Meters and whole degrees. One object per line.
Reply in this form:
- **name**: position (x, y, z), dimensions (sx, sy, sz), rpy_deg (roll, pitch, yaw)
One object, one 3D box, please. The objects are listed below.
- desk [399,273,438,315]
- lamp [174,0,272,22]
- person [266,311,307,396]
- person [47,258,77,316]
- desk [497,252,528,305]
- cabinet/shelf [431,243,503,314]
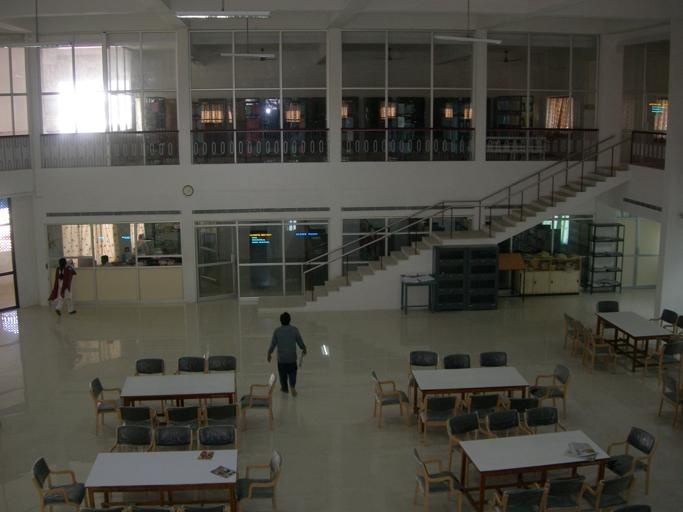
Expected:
- **desk**: position (2.386, 1.089, 20.332), dimensions (1.289, 1.471, 1.035), rpy_deg (-1, 6, -3)
- **lamp**: position (-3.282, -6.699, 17.540), dimensions (1.923, 0.494, 0.272), rpy_deg (0, 17, -4)
- **person**: position (-1.278, 2.245, 14.920), dimensions (0.896, 1.962, 0.653), rpy_deg (-4, 14, -10)
- **person**: position (-9.073, 0.957, 20.882), dimensions (0.875, 1.742, 1.236), rpy_deg (-8, 9, -25)
- **desk**: position (5.439, 0.646, 21.344), dimensions (1.069, 1.393, 1.042), rpy_deg (0, 7, -9)
- **cabinet/shelf**: position (3.861, 0.710, 20.219), dimensions (1.908, 2.060, 0.708), rpy_deg (0, 4, -3)
